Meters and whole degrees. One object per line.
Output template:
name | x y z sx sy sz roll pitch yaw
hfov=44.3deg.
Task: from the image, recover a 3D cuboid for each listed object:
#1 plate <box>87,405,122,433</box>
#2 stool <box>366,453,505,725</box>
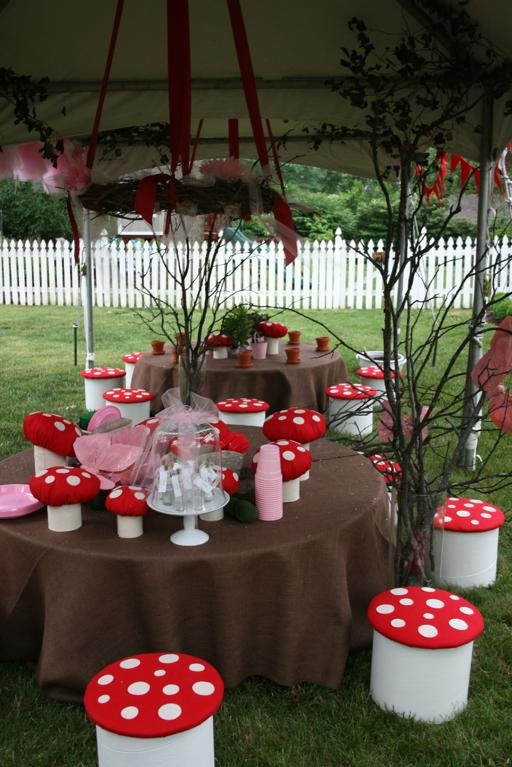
plate | -0.570 0.138 2.361 0.117 0.040 0.112 2 20 1
stool | 0.694 0.764 2.212 0.342 0.317 1.020 3 7 25
